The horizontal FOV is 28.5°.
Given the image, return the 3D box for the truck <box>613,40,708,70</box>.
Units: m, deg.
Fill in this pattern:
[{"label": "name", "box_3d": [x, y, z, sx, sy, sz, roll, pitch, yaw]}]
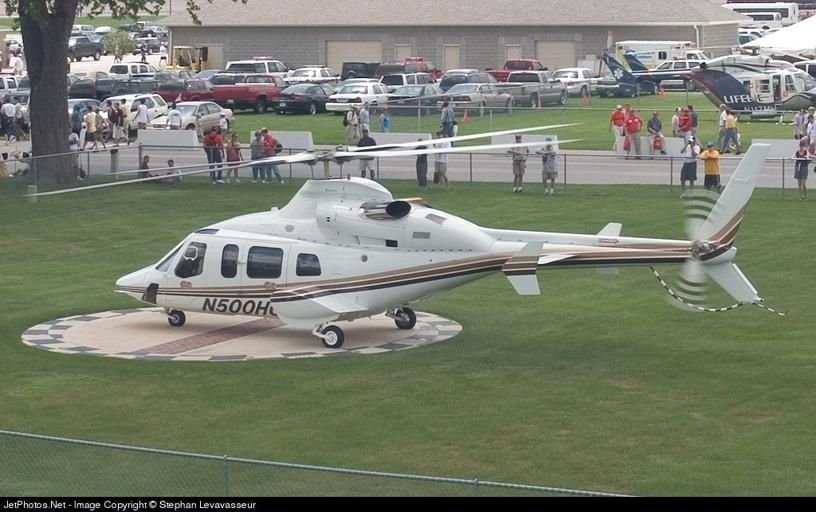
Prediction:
[{"label": "truck", "box_3d": [16.525, -12.834, 103.402, 5.006, 1.472, 2.632, 1, 11, 8]}]
